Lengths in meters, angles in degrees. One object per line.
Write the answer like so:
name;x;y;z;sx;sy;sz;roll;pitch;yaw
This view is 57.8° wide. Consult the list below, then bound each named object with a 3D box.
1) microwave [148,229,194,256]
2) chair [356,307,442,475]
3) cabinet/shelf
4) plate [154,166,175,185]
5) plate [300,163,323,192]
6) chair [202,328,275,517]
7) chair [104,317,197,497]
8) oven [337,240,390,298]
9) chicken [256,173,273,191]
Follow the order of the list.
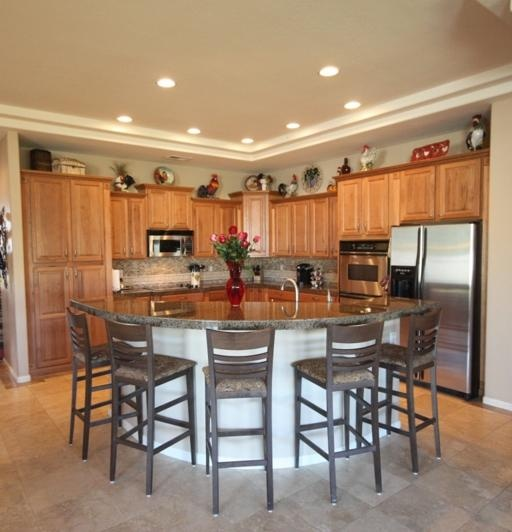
microwave;-1.158;-0.307;6.300;0.655;0.357;0.389;0;1;-38
chair;1.051;0.839;3.364;0.611;1.010;0.519;1;-1;32
cabinet/shelf;-0.510;-0.435;5.059;3.234;1.635;3.091;-1;0;-32
plate;-1.263;-1.242;6.447;0.300;0.256;0.070;1;0;-43
plate;0.803;-1.266;6.626;0.026;0.418;0.470;-1;3;-33
chair;-0.103;0.868;2.882;0.463;1.065;0.619;-1;8;-2
chair;-0.826;0.853;3.193;0.796;1.081;0.616;3;9;31
oven;1.353;0.022;5.393;0.426;0.631;0.752;-2;4;-32
chicken;0.151;-1.290;7.233;0.351;0.301;0.316;-1;3;5
